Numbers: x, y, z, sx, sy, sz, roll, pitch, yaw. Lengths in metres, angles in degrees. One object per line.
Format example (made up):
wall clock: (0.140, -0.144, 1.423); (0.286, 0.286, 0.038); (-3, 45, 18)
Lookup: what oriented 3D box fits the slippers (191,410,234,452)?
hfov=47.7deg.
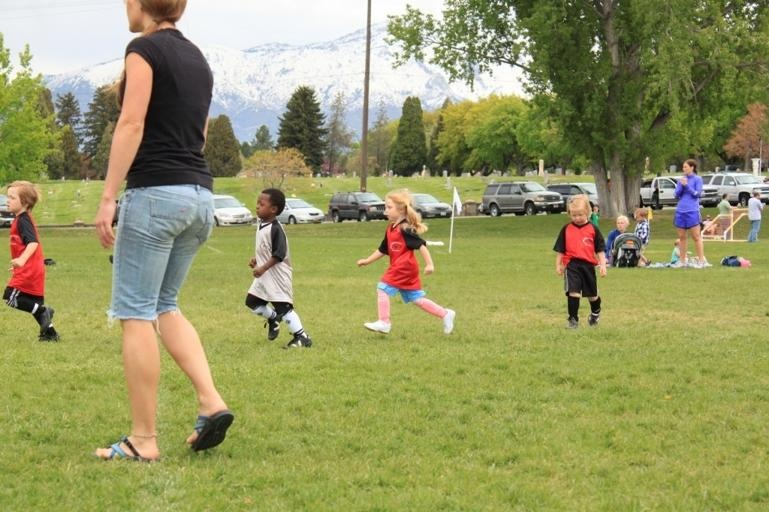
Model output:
slippers: (-1.471, 1.424, 7.123); (0.240, 0.180, 0.470); (-11, 10, 20)

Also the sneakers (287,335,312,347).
sneakers: (-0.997, 0.964, 10.038); (0.274, 0.135, 0.236); (0, 12, -5)

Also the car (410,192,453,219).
car: (2.137, -2.401, 41.406); (1.329, 0.843, 2.697); (-3, 6, -29)

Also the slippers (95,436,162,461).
slippers: (-2.096, 1.572, 7.116); (0.490, 0.160, 0.200); (7, -8, -6)

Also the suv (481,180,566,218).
suv: (6.607, -2.739, 41.714); (1.804, 1.239, 3.318); (-3, 2, -40)

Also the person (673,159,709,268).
person: (5.987, -0.836, 16.962); (0.705, 2.153, 1.004); (5, 13, 17)

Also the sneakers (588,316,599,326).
sneakers: (2.625, 0.812, 10.981); (0.150, 0.110, 0.204); (-3, 4, 14)

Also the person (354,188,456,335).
person: (0.246, 0.099, 10.494); (0.997, 1.760, 0.444); (0, 12, -3)

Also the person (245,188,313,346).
person: (-1.293, 0.138, 10.299); (0.719, 1.863, 1.143); (-1, 12, -9)

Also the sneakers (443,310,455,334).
sneakers: (0.781, 0.800, 10.711); (0.149, 0.309, 0.114); (0, 0, -2)

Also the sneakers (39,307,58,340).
sneakers: (-3.894, 0.797, 10.023); (0.208, 0.431, 0.154); (-3, 8, -15)

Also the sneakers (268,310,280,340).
sneakers: (-1.354, 0.840, 10.421); (0.137, 0.360, 0.173); (-3, 19, -16)

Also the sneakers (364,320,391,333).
sneakers: (-0.097, 0.850, 10.520); (0.314, 0.120, 0.146); (8, -3, -8)

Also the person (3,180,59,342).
person: (-4.227, 0.047, 10.223); (0.562, 1.917, 1.315); (-5, 13, -22)

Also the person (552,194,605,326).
person: (2.455, 0.074, 11.027); (0.644, 1.682, 0.878); (3, 13, 12)

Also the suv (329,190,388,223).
suv: (-1.248, -2.405, 41.860); (1.477, 1.003, 2.546); (-4, 3, -40)
